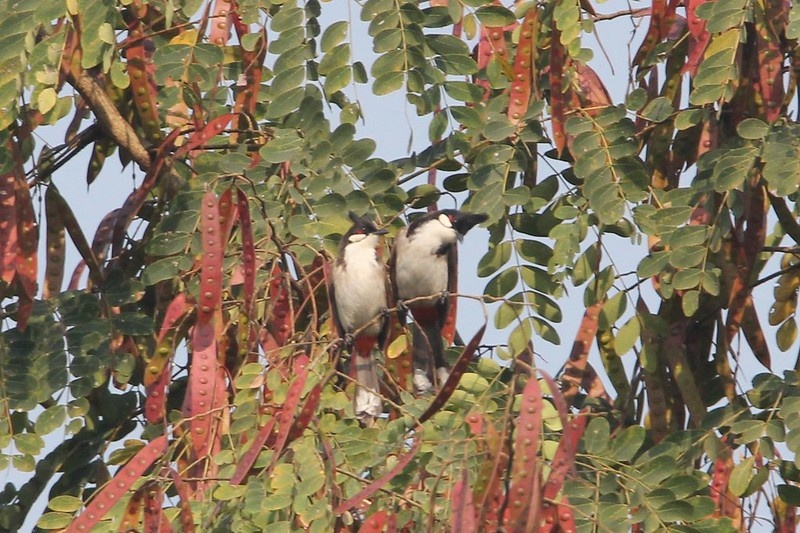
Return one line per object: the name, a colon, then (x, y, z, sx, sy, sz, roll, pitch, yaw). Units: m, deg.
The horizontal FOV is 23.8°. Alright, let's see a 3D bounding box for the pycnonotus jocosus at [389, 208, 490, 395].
pycnonotus jocosus: (0.175, 0.277, 11.548, 0.402, 0.546, 1.270, 3, -68, -20)
